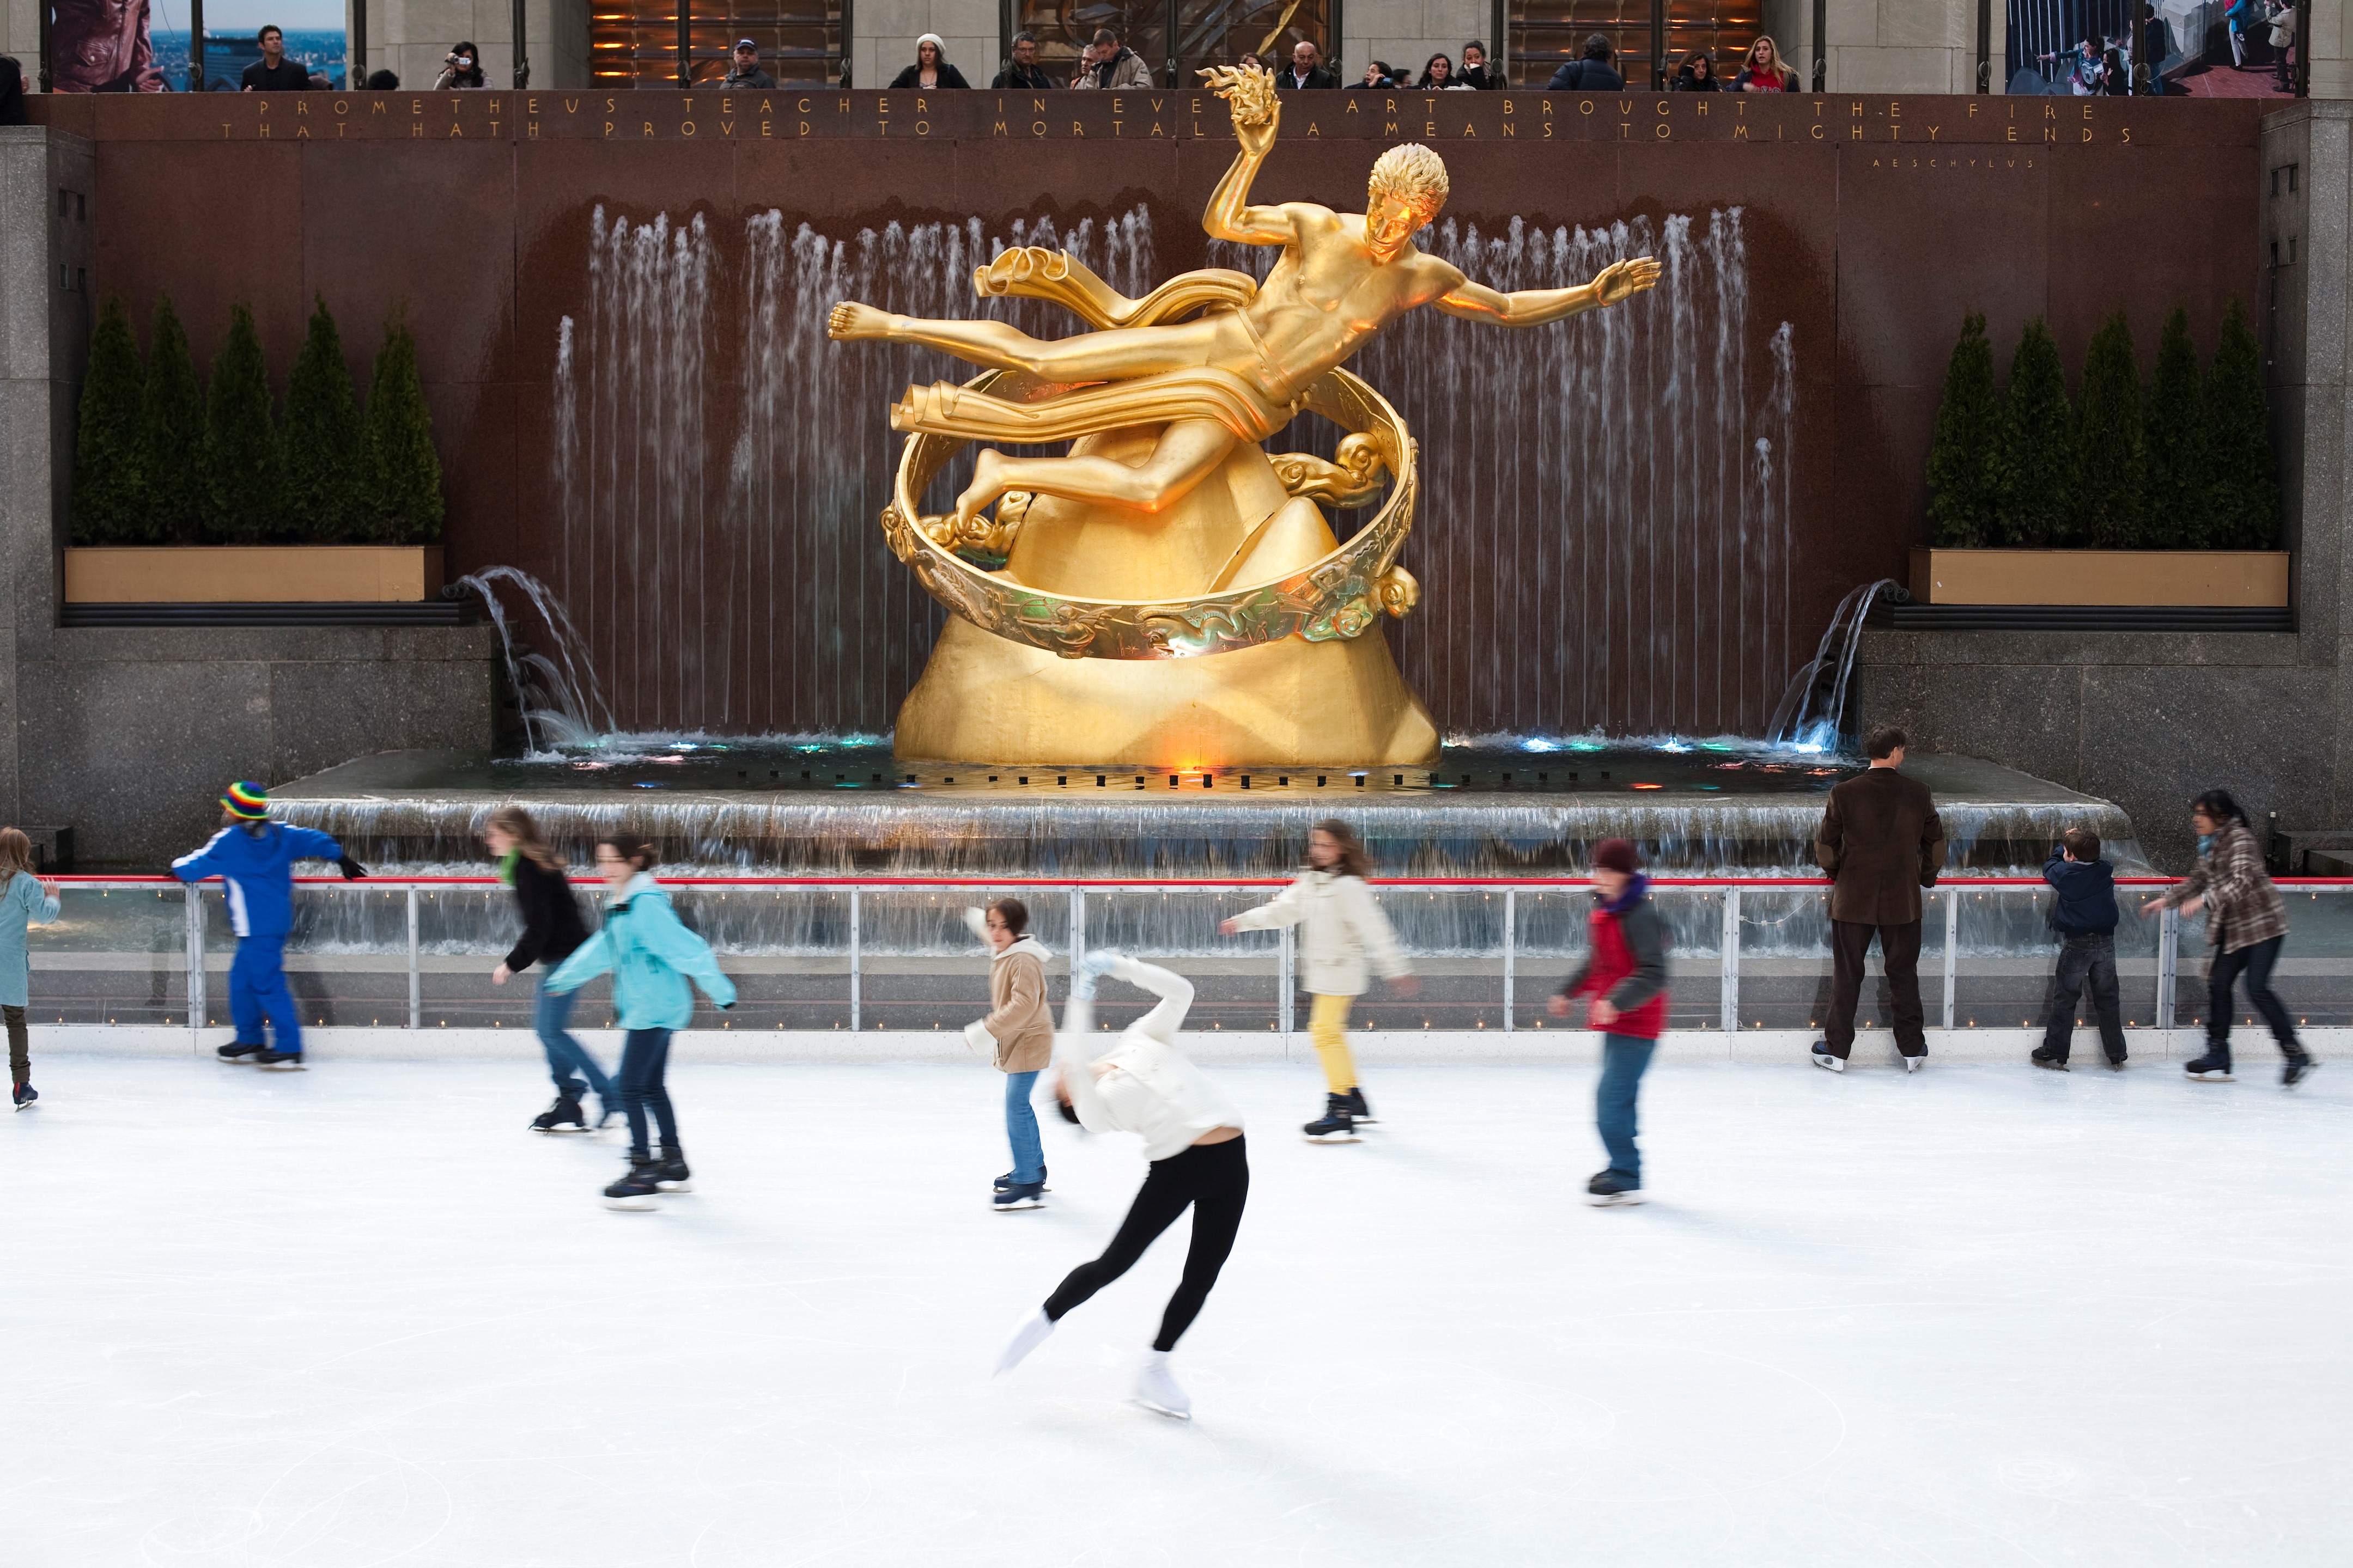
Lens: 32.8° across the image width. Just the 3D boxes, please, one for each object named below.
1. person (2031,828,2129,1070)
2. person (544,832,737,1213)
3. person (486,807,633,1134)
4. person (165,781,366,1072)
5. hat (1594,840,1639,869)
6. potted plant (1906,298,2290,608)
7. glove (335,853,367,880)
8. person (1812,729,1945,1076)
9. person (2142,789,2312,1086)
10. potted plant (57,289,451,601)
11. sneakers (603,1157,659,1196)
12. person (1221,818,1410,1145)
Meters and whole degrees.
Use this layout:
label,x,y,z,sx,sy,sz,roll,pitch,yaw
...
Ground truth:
label,x,y,z,sx,sy,sz,roll,pitch,yaw
person,6.097,1.066,26.803,0.635,1.609,0.411,1,6,6
person,-3.158,1.402,24.388,0.871,2.184,0.525,3,6,25
person,-3.993,1.273,25.865,0.840,2.414,0.790,-4,-32,-9
person,-6.099,0.908,26.688,0.975,1.875,0.409,-1,6,-16
hat,2.663,0.413,24.071,0.197,0.155,0.204,0,5,3
potted plant,7.943,-2.771,33.897,2.459,2.370,1.070,1,3,1
glove,-5.722,0.548,27.753,0.140,0.157,0.142,-14,26,-34
person,4.693,0.746,26.731,0.796,2.280,0.424,2,6,9
person,7.063,0.981,26.590,1.000,1.881,0.533,3,6,22
potted plant,-7.903,-2.830,33.825,2.436,2.427,1.085,0,6,-6
sneakers,-3.277,2.391,24.418,0.388,0.174,0.158,1,-3,4
person,0.982,1.177,25.470,0.937,2.028,1.289,1,6,2
